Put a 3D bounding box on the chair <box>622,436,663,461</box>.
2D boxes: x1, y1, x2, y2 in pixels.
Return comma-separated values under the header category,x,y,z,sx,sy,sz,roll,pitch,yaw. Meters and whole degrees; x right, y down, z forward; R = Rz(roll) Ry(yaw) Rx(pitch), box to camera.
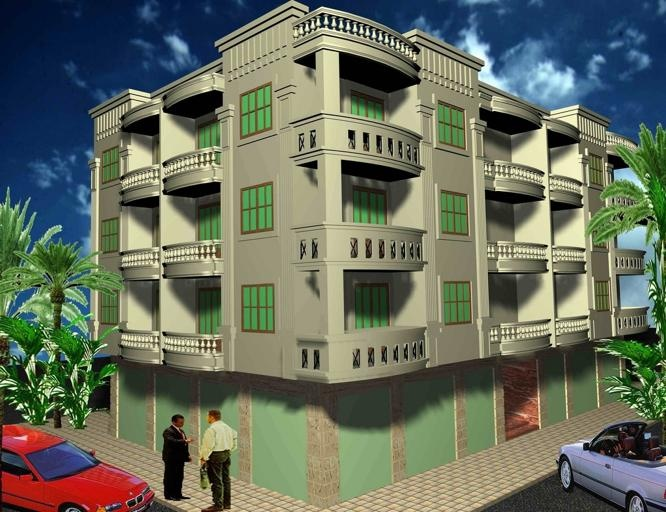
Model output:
category,x,y,z,sx,sy,sz,roll,pitch,yaw
chair,10.396,6.477,18.920,0.655,1.085,0.952,14,-14,-21
